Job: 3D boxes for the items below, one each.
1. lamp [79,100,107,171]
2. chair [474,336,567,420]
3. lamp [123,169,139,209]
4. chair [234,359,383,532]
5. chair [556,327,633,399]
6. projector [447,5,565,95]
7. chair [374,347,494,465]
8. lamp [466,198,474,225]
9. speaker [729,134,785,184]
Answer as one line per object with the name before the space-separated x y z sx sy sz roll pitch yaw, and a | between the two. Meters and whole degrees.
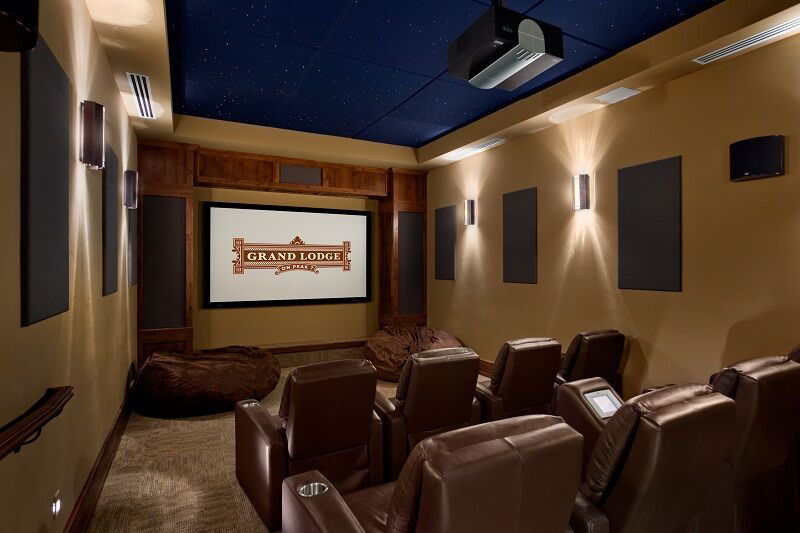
lamp | -2.378 -1.020 4.019 0.135 0.492 0.234 1 3 -18
chair | 1.039 0.940 4.733 0.680 0.978 0.727 0 -1 -17
lamp | -2.843 -0.815 5.468 0.153 0.446 0.467 -1 -2 -22
chair | -0.652 1.117 4.210 1.206 1.427 1.177 -1 2 -29
chair | 1.936 0.857 5.300 0.764 0.879 0.637 2 -2 -20
projector | 0.884 -1.889 4.500 0.688 0.494 0.765 0 3 -28
chair | 0.266 1.110 4.390 0.799 0.958 0.898 0 -2 -20
lamp | 1.007 -0.800 7.509 0.124 0.360 0.069 1 3 -14
speaker | 3.108 -0.946 4.521 0.407 0.355 0.133 3 3 35
